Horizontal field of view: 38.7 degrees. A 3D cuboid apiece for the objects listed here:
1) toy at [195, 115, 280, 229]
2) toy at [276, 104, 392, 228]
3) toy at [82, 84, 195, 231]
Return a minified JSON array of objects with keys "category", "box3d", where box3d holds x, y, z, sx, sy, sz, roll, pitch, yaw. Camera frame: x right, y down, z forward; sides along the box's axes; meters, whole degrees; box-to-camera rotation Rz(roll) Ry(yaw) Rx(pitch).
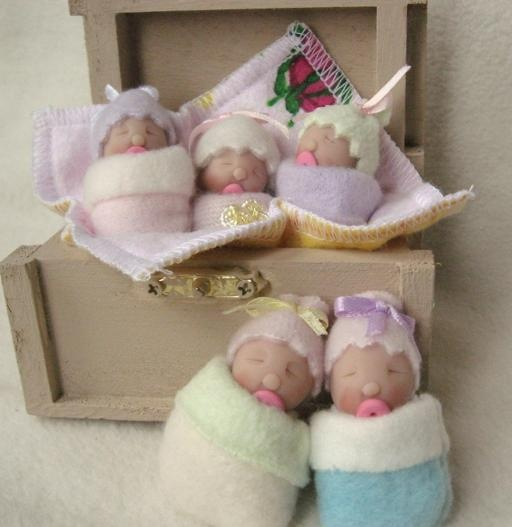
[{"category":"toy","box3d":[-0.037,-0.161,1.247,0.156,0.177,0.198,-4,19,-1]},{"category":"toy","box3d":[0.123,-0.186,1.241,0.219,0.192,0.173,-16,37,-41]},{"category":"toy","box3d":[-0.192,-0.163,1.182,0.194,0.223,0.262,-8,19,-11]}]
